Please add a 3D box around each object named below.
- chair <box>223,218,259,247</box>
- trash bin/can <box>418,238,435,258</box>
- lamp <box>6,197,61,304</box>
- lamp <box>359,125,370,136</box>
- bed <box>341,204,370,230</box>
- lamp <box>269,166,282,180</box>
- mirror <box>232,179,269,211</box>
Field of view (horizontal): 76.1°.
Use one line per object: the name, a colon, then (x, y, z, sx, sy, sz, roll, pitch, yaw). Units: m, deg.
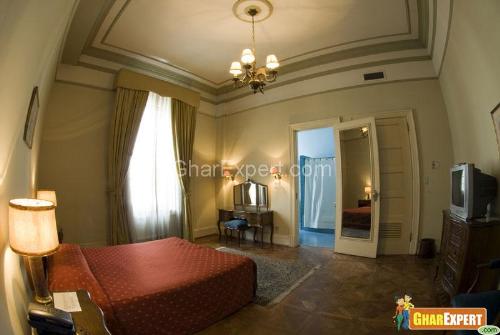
chair: (-0.230, 1.398, 7.172, 0.610, 0.544, 0.608, 6, -8, -35)
trash bin/can: (3.169, 1.431, 5.798, 0.305, 0.352, 0.308, 3, -3, -15)
lamp: (-2.318, 0.869, 3.478, 0.503, 1.102, 0.412, 0, 9, 19)
lamp: (2.200, -0.705, 6.164, 0.049, 0.207, 0.189, -9, 10, -36)
bed: (2.057, 0.982, 6.176, 0.391, 0.286, 0.564, 0, 2, 32)
lamp: (0.537, 0.124, 7.131, 0.301, 0.321, 0.156, 4, 11, 39)
mirror: (0.043, 0.643, 7.491, 0.698, 0.555, 0.045, -5, -9, 32)
